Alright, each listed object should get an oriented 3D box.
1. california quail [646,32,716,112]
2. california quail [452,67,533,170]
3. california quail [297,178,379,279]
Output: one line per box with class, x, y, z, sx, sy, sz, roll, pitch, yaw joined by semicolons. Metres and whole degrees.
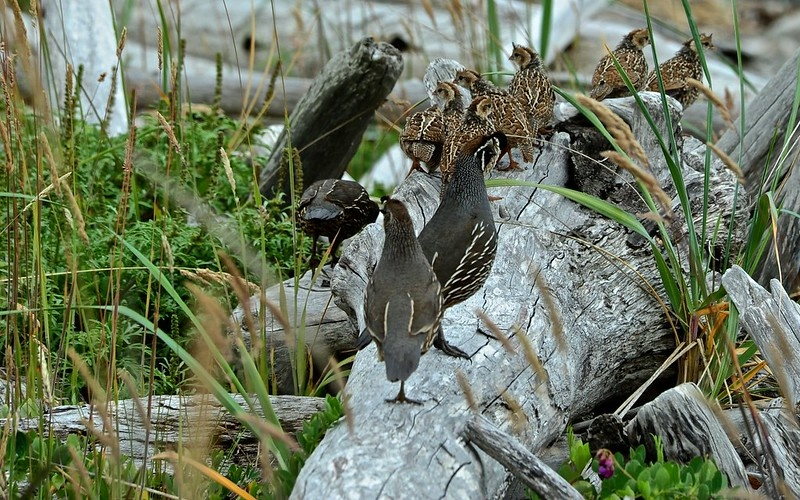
california quail;2.382;-1.566;8.973;0.656;0.789;0.375;9;52;21
california quail;0.749;-1.046;8.316;0.633;0.787;0.394;11;35;34
california quail;-0.565;-0.216;8.512;0.460;0.718;1.068;9;-1;13
